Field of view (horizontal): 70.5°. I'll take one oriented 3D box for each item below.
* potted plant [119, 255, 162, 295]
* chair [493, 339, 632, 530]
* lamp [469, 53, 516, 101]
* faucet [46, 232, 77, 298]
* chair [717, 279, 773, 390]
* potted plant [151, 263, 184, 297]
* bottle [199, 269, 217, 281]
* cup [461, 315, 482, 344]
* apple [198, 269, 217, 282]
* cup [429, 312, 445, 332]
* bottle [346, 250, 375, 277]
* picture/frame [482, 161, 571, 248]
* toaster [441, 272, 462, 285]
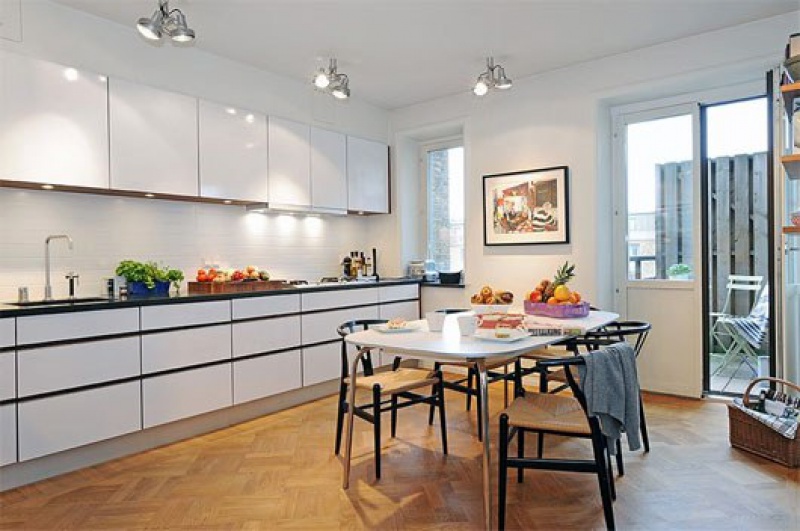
[{"bbox_3d":[-2.342,0.087,5.072,0.316,0.205,0.302,10,-9,-37],"label":"potted plant"},{"bbox_3d":[1.048,1.071,4.335,1.100,1.468,1.344,0,-7,12],"label":"chair"},{"bbox_3d":[0.903,-1.873,5.575,0.382,0.251,0.623,-18,-1,27],"label":"lamp"},{"bbox_3d":[-2.986,0.003,4.975,0.272,0.554,0.218,-8,14,-29],"label":"faucet"},{"bbox_3d":[3.448,0.695,5.702,0.512,1.167,0.301,6,14,29],"label":"chair"},{"bbox_3d":[-2.122,0.142,5.263,0.309,0.333,0.353,1,-2,7],"label":"potted plant"},{"bbox_3d":[-1.924,0.093,5.665,0.167,0.117,0.130,-4,11,-18],"label":"bottle"},{"bbox_3d":[0.491,0.429,3.993,0.165,0.156,0.134,1,-2,-17],"label":"cup"},{"bbox_3d":[-1.924,0.094,5.668,0.147,0.057,0.149,-1,-5,34],"label":"apple"},{"bbox_3d":[0.267,0.423,4.167,0.133,0.140,0.135,1,-2,0],"label":"cup"},{"bbox_3d":[-0.519,-0.009,7.132,0.346,0.317,0.166,4,-6,-44],"label":"bottle"},{"bbox_3d":[1.455,-0.681,6.359,1.073,0.865,0.084,-1,0,32],"label":"picture/frame"},{"bbox_3d":[0.626,0.168,6.950,0.213,0.104,0.156,-1,-2,9],"label":"toaster"}]
